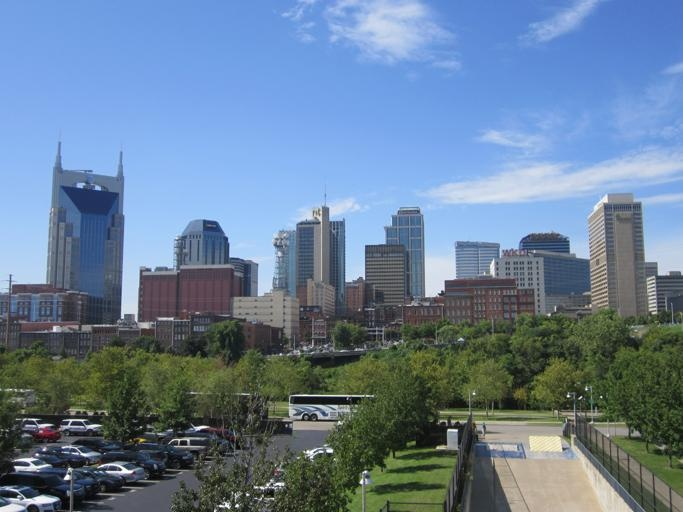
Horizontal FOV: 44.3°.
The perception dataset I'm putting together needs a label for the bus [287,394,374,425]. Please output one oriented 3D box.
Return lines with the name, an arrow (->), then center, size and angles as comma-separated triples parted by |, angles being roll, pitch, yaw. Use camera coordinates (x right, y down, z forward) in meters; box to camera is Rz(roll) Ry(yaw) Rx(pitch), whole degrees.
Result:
bus -> -4.170, 25.369, 139.669 | 9.755, 4.446, 1.048 | -4, -7, 16
